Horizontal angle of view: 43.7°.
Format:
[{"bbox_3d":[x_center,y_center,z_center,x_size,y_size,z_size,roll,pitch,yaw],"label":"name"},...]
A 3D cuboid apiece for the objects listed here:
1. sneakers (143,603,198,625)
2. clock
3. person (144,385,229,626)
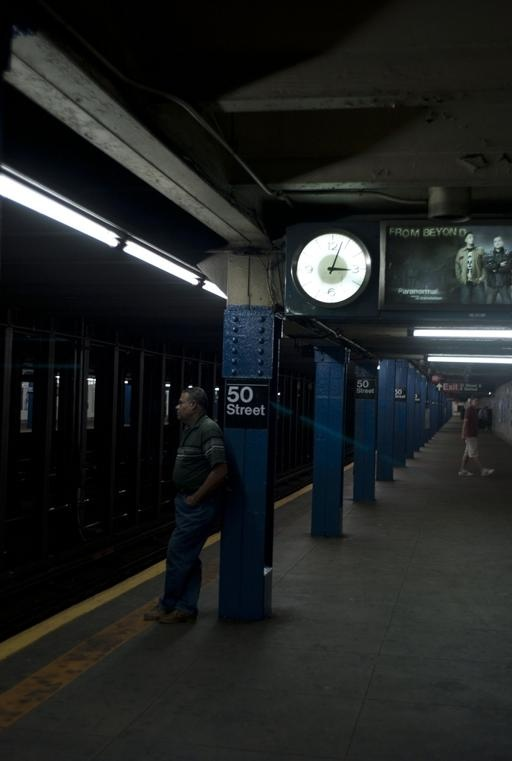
[{"bbox_3d":[-0.650,1.784,4.913,0.420,0.168,0.146,4,-8,9],"label":"sneakers"},{"bbox_3d":[0.588,-0.807,4.710,0.577,0.592,0.078,1,2,7],"label":"clock"},{"bbox_3d":[-0.529,0.969,4.965,0.634,1.804,0.430,-2,0,-4],"label":"person"}]
